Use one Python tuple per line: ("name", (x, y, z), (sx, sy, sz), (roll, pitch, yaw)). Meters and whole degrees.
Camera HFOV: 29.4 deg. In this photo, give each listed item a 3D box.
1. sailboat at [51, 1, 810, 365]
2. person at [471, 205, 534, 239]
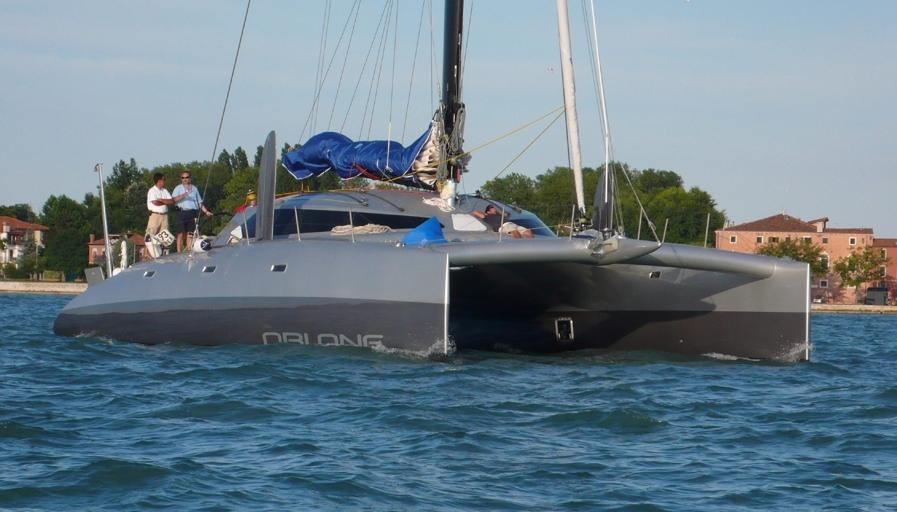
("sailboat", (-1.958, -0.280, 32.744), (16.963, 7.921, 5.322), (-3, -3, 34))
("person", (0.956, -0.535, 30.353), (0.806, 0.308, 0.637), (21, 24, 16))
